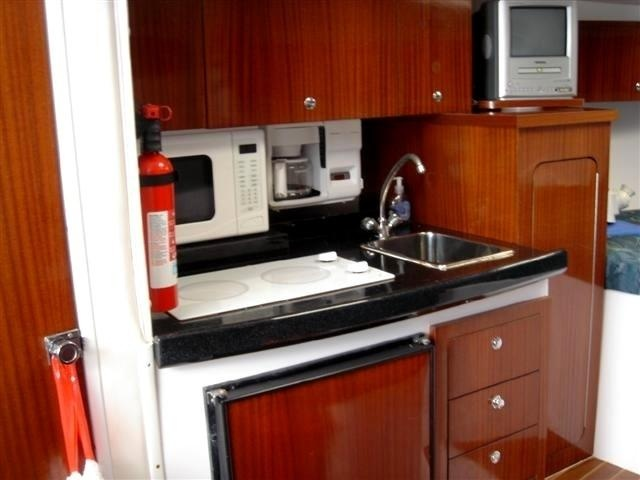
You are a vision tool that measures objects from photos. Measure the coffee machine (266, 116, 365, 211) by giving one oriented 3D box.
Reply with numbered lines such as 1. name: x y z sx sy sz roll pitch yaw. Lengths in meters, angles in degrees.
1. coffee machine: -0.056 -0.337 2.346 0.371 0.376 0.309 -5 19 -27

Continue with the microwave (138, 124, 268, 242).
1. microwave: -0.435 -0.252 2.102 0.390 0.398 0.329 -7 20 -29

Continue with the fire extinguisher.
1. fire extinguisher: -0.379 -0.091 1.532 0.129 0.543 0.197 -5 10 -23

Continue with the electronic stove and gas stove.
1. electronic stove and gas stove: -0.149 0.132 1.855 0.727 0.056 0.397 -10 14 -22
